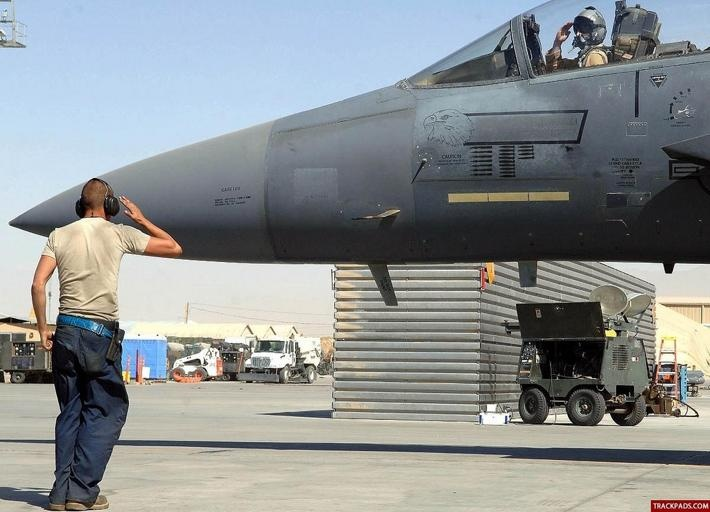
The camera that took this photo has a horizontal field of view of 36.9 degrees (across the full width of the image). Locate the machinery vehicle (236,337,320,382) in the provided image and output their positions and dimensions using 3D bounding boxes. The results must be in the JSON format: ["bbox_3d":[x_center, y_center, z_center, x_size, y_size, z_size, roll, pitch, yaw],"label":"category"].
[{"bbox_3d":[-3.843,5.106,54.261,2.831,2.065,6.174,6,-3,15],"label":"machinery vehicle"}]

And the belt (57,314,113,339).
[{"bbox_3d":[-2.857,0.715,11.130,0.418,0.093,0.392,6,-13,27],"label":"belt"}]

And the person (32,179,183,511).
[{"bbox_3d":[-2.723,0.869,11.162,1.240,3.445,0.522,-1,-8,-13],"label":"person"}]

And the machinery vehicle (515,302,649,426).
[{"bbox_3d":[4.486,2.155,21.435,2.491,2.494,1.541,-3,-7,6],"label":"machinery vehicle"}]
